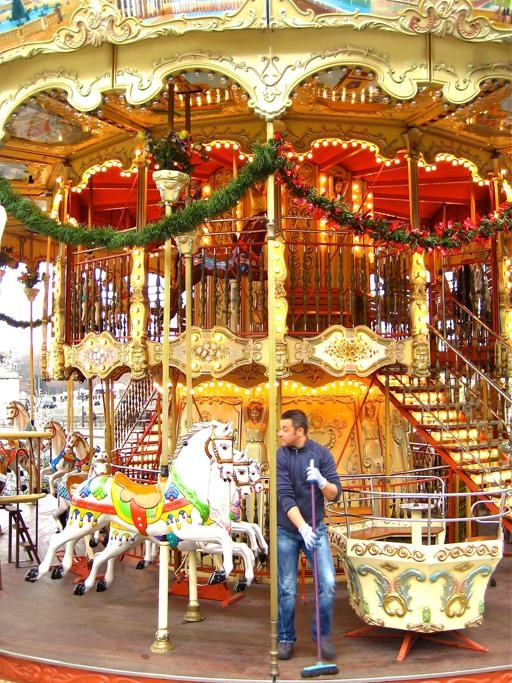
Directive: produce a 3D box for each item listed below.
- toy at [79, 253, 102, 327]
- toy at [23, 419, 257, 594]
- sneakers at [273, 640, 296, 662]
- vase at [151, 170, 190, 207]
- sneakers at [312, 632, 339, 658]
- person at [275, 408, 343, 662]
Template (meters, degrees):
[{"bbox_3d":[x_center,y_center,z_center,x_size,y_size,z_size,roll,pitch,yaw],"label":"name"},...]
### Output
[{"bbox_3d":[-2.032,-0.585,10.797,0.256,0.999,0.932,1,-8,-11],"label":"toy"},{"bbox_3d":[-0.821,1.369,7.249,1.726,1.397,0.447,-4,-8,23],"label":"toy"},{"bbox_3d":[0.198,2.212,6.304,0.129,0.146,0.382,-2,-20,6],"label":"sneakers"},{"bbox_3d":[-0.739,-1.342,7.662,0.319,0.243,0.311,11,21,9],"label":"vase"},{"bbox_3d":[0.513,2.222,6.458,0.102,0.118,0.280,2,-5,-13],"label":"sneakers"},{"bbox_3d":[0.379,1.396,6.477,0.495,1.802,0.698,4,-9,-33],"label":"person"}]
